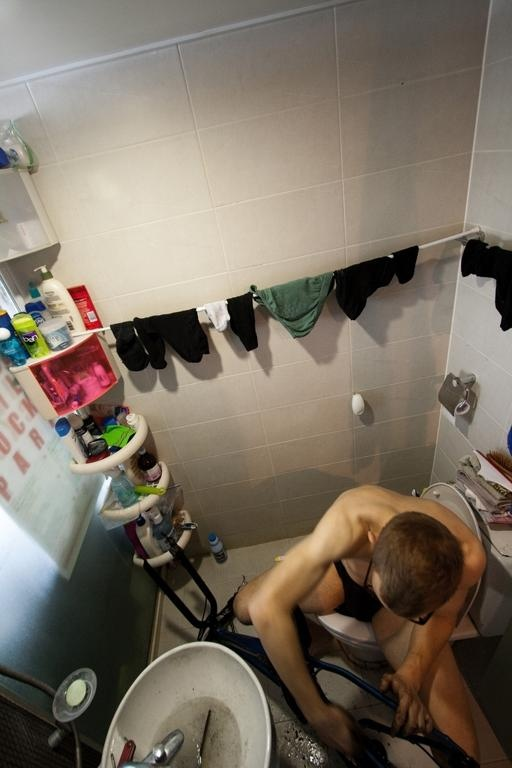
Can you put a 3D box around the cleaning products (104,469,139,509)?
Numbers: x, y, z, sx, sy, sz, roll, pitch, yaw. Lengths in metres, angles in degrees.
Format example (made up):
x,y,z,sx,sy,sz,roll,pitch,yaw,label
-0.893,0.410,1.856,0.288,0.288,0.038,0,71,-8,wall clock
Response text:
x,y,z,sx,sy,sz,roll,pitch,yaw,label
-0.483,0.381,1.850,0.090,0.159,0.038,-16,12,4,cleaning products

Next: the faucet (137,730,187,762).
x,y,z,sx,sy,sz,roll,pitch,yaw,label
-0.195,0.776,1.085,0.121,0.039,0.047,-39,41,47,faucet

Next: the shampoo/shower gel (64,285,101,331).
x,y,z,sx,sy,sz,roll,pitch,yaw,label
-0.566,-0.249,1.674,0.037,0.133,0.138,-4,15,42,shampoo/shower gel

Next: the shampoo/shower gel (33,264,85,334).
x,y,z,sx,sy,sz,roll,pitch,yaw,label
-0.611,-0.258,1.589,0.128,0.220,0.073,28,58,39,shampoo/shower gel

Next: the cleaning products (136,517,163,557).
x,y,z,sx,sy,sz,roll,pitch,yaw,label
-0.402,0.588,1.933,0.041,0.154,0.108,-27,44,-19,cleaning products

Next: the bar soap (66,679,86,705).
x,y,z,sx,sy,sz,roll,pitch,yaw,label
-0.399,0.693,1.134,0.037,0.027,0.052,2,47,21,bar soap
